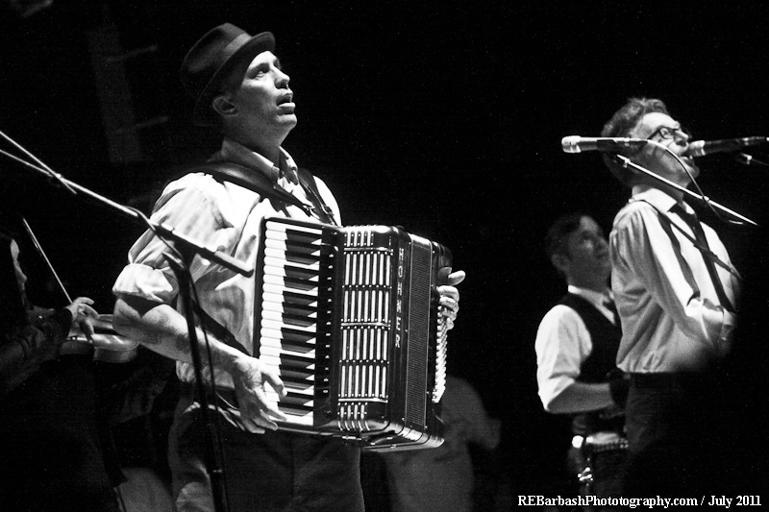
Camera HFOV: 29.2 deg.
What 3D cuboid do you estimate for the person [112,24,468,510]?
[{"bbox_3d":[-0.596,-0.004,6.356,1.108,2.144,0.626,2,-17,-15],"label":"person"}]
